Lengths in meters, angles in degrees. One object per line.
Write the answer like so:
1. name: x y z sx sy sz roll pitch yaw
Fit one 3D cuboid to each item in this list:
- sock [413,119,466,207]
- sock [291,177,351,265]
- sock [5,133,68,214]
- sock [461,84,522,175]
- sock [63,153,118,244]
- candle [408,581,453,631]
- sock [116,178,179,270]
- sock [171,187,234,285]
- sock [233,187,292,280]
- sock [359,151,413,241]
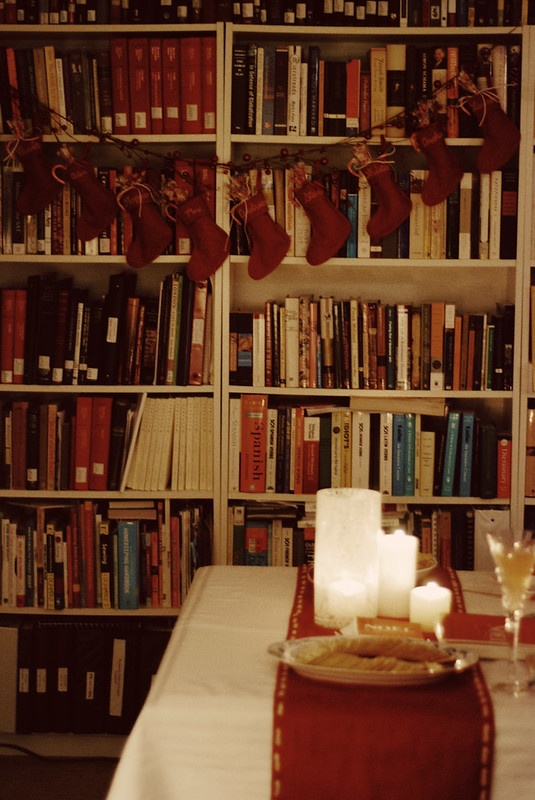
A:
1. sock: 0.412 -0.601 1.967 0.175 0.168 0.090 -48 31 -21
2. sock: 0.143 -0.463 1.991 0.127 0.214 0.065 -4 6 13
3. sock: -0.601 -0.583 1.996 0.127 0.191 0.082 -6 6 -2
4. sock: 0.567 -0.698 1.967 0.136 0.232 0.116 -4 6 17
5. sock: -0.454 -0.525 1.981 0.152 0.200 0.048 1 31 9
6. candle: 0.234 0.296 1.121 0.056 0.061 0.055 0 13 1
7. sock: -0.322 -0.464 2.020 0.128 0.213 0.074 -7 6 -11
8. sock: -0.152 -0.437 2.100 0.140 0.233 0.232 -3 1 6
9. sock: -0.016 -0.430 2.008 0.141 0.215 0.064 -6 6 -2
10. sock: 0.308 -0.518 1.987 0.116 0.201 0.077 -5 6 11
